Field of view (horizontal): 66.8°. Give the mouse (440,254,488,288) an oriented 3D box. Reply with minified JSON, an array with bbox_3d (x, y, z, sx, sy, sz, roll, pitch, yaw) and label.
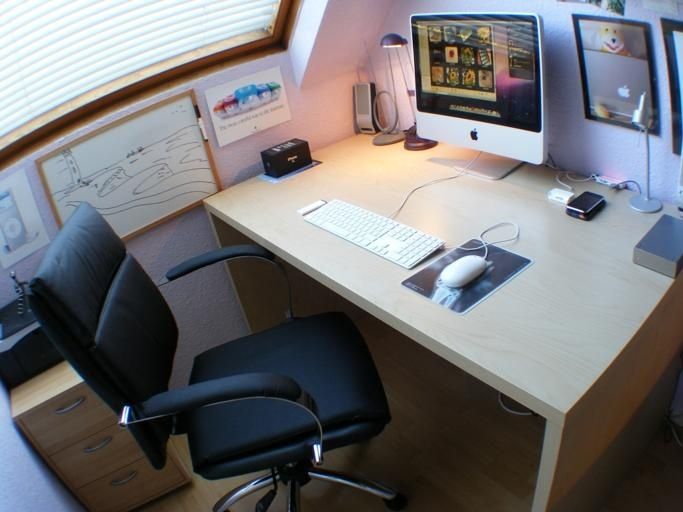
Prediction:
[{"bbox_3d":[0.339,0.040,1.447,0.127,0.042,0.070,-31,39,-22],"label":"mouse"}]

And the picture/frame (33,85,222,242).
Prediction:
[{"bbox_3d":[-0.815,-0.363,1.917,0.554,0.393,0.022,-28,35,-24],"label":"picture/frame"}]

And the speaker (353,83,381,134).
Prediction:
[{"bbox_3d":[0.117,-0.678,2.386,0.123,0.232,0.044,12,36,24],"label":"speaker"}]

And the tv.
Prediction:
[{"bbox_3d":[0.493,-0.564,1.799,0.173,0.516,0.521,-38,45,-25],"label":"tv"}]
